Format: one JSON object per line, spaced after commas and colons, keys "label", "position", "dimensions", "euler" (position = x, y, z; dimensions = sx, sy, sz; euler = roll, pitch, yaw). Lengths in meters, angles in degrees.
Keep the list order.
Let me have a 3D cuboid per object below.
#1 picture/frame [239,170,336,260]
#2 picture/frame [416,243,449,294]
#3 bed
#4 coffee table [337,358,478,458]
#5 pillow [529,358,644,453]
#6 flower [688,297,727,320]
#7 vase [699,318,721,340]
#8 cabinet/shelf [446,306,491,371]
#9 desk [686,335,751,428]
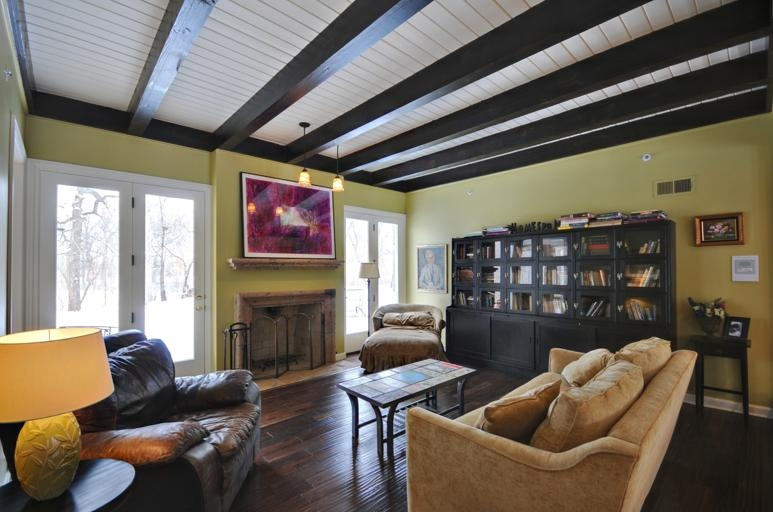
{"label": "picture/frame", "position": [-1.405, -0.517, 7.009], "dimensions": [1.548, 1.134, 0.039], "euler": [0, -2, -43]}
{"label": "picture/frame", "position": [0.803, 0.232, 8.292], "dimensions": [0.073, 1.007, 0.833], "euler": [4, -6, -38]}
{"label": "bed", "position": [0.260, 1.214, 7.226], "dimensions": [1.240, 0.867, 1.840], "euler": [2, -1, -1]}
{"label": "coffee table", "position": [0.162, 1.414, 5.041], "dimensions": [0.772, 0.643, 1.464], "euler": [-2, 0, 43]}
{"label": "pillow", "position": [1.667, 1.148, 3.737], "dimensions": [0.886, 0.448, 0.652], "euler": [11, -19, 3]}
{"label": "flower", "position": [3.728, 0.618, 5.628], "dimensions": [0.248, 0.205, 0.303], "euler": [4, -4, -23]}
{"label": "vase", "position": [3.771, 0.864, 5.611], "dimensions": [0.242, 0.190, 0.235], "euler": [-2, -12, 21]}
{"label": "cabinet/shelf", "position": [1.231, 1.234, 7.104], "dimensions": [0.399, 0.882, 0.925], "euler": [0, 0, -43]}
{"label": "desk", "position": [3.836, 1.399, 5.512], "dimensions": [0.624, 0.888, 0.457], "euler": [0, 4, 38]}
